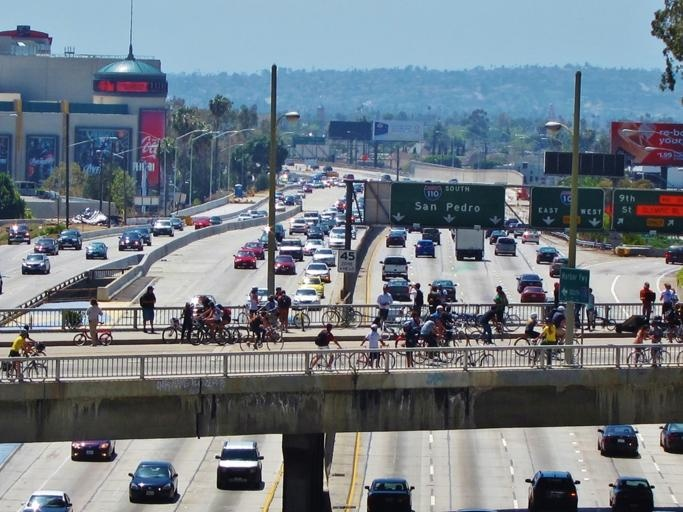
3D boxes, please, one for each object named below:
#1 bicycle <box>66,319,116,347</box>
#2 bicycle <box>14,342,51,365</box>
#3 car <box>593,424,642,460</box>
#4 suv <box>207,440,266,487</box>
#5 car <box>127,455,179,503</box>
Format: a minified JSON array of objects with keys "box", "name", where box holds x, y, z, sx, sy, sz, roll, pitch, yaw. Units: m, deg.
[{"box":[-14.192,4.506,97.690,2.042,1.536,1.165,1,2,-10],"name":"bicycle"},{"box":[-16.620,5.278,92.400,1.549,1.156,0.854,2,0,1],"name":"bicycle"},{"box":[18.339,12.174,112.945,2.674,2.141,1.816,-1,9,10],"name":"car"},{"box":[-6.559,13.558,109.580,2.690,2.937,5.496,1,0,-2],"name":"suv"},{"box":[-11.845,14.113,107.253,3.197,2.351,3.103,0,1,-1],"name":"car"}]
